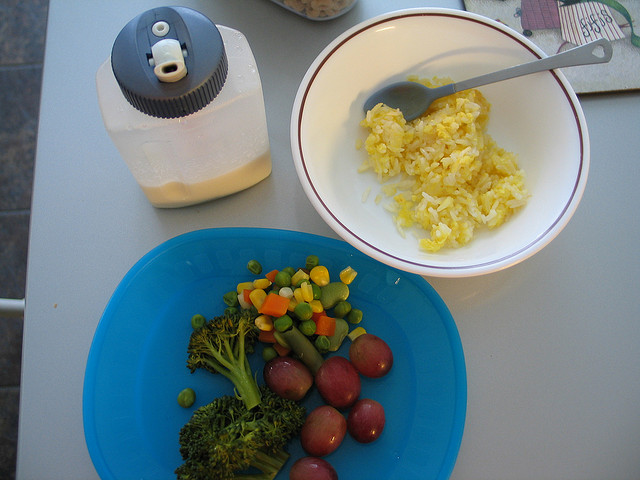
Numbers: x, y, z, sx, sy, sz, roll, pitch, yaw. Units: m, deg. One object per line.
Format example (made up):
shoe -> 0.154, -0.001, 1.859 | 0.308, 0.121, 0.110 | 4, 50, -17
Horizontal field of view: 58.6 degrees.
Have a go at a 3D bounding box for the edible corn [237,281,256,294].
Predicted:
edible corn -> -0.189, 0.116, 1.429 | 0.036, 0.011, 0.028 | -26, 52, -29

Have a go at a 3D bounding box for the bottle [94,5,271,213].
bottle -> -0.321, -0.276, 1.330 | 0.342, 0.606, 0.264 | -17, 72, -10

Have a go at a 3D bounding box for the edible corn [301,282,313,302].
edible corn -> -0.035, 0.125, 1.391 | 0.023, 0.009, 0.044 | -2, 99, 8

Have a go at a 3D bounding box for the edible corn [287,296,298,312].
edible corn -> -0.069, 0.157, 1.403 | 0.021, 0.009, 0.035 | 2, 79, -8

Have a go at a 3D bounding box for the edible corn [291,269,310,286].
edible corn -> -0.050, 0.095, 1.420 | 0.028, 0.016, 0.016 | -41, 106, 11

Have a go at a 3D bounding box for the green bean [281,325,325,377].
green bean -> -0.039, 0.264, 1.377 | 0.087, 0.118, 0.060 | -18, 40, -27

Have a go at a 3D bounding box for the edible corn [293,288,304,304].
edible corn -> -0.054, 0.136, 1.400 | 0.026, 0.050, 0.029 | -2, 37, 5

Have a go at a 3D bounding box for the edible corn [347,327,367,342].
edible corn -> 0.091, 0.231, 1.423 | 0.035, 0.010, 0.033 | -46, 49, -5

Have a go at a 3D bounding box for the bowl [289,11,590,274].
bowl -> 0.280, -0.223, 1.388 | 0.693, 0.175, 0.648 | 0, 76, 0

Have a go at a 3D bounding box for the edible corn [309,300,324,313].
edible corn -> -0.010, 0.163, 1.408 | 0.032, 0.019, 0.031 | -7, 76, -2

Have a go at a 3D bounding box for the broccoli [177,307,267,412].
broccoli -> -0.230, 0.278, 1.381 | 0.194, 0.136, 0.243 | -21, 64, -11
